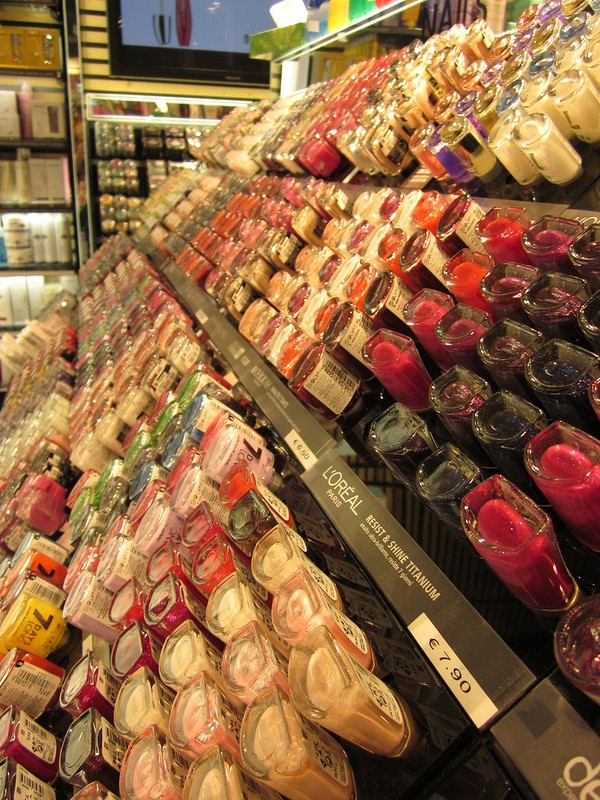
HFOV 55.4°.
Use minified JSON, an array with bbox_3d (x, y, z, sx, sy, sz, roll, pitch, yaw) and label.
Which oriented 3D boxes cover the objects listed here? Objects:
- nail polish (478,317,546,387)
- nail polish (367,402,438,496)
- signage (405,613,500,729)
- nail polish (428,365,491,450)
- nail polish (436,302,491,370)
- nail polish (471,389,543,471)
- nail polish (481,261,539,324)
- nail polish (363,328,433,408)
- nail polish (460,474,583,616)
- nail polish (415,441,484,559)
[{"bbox_3d":[0.227,-0.050,0.604,0.057,0.052,0.087,-14,-73,-25],"label":"nail polish"},{"bbox_3d":[0.121,0.058,0.661,0.058,0.055,0.099,-45,-49,-4],"label":"nail polish"},{"bbox_3d":[0.141,0.252,0.540,0.025,0.101,0.098,-35,-14,-5],"label":"signage"},{"bbox_3d":[0.172,0.009,0.611,0.047,0.048,0.085,-41,-38,-6],"label":"nail polish"},{"bbox_3d":[0.191,-0.077,0.662,0.042,0.043,0.074,-48,-35,-5],"label":"nail polish"},{"bbox_3d":[0.196,0.025,0.537,0.040,0.041,0.073,-43,-31,0],"label":"nail polish"},{"bbox_3d":[0.233,-0.118,0.630,0.043,0.042,0.076,-52,-34,-1],"label":"nail polish"},{"bbox_3d":[0.134,-0.047,0.763,0.067,0.065,0.120,-46,-57,-8],"label":"nail polish"},{"bbox_3d":[0.193,0.124,0.491,0.064,0.068,0.159,-43,-44,-6],"label":"nail polish"},{"bbox_3d":[0.149,0.099,0.566,0.064,0.061,0.112,-44,-42,-4],"label":"nail polish"}]
